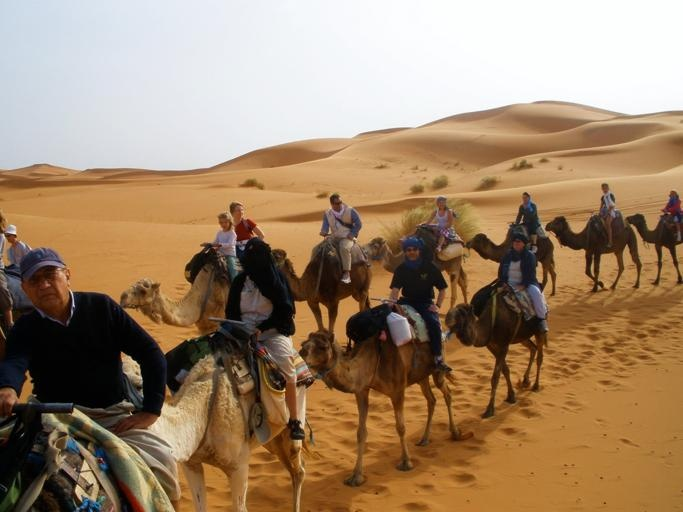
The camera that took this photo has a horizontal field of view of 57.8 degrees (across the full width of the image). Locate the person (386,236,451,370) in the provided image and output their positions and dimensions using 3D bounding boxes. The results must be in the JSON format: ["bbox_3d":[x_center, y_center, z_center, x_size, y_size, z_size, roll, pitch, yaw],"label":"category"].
[{"bbox_3d":[1.075,0.528,8.556,0.687,1.963,0.715,0,1,19],"label":"person"}]

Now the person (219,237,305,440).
[{"bbox_3d":[-0.769,0.776,6.508,0.791,2.039,0.774,6,11,7],"label":"person"}]

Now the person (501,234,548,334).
[{"bbox_3d":[3.049,0.383,10.190,0.571,1.701,0.724,0,1,36],"label":"person"}]

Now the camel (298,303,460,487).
[{"bbox_3d":[0.550,1.966,8.051,2.011,2.314,2.006,4,11,-6],"label":"camel"}]

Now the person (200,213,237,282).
[{"bbox_3d":[-1.902,-0.042,9.902,0.489,1.259,0.525,16,22,41],"label":"person"}]
